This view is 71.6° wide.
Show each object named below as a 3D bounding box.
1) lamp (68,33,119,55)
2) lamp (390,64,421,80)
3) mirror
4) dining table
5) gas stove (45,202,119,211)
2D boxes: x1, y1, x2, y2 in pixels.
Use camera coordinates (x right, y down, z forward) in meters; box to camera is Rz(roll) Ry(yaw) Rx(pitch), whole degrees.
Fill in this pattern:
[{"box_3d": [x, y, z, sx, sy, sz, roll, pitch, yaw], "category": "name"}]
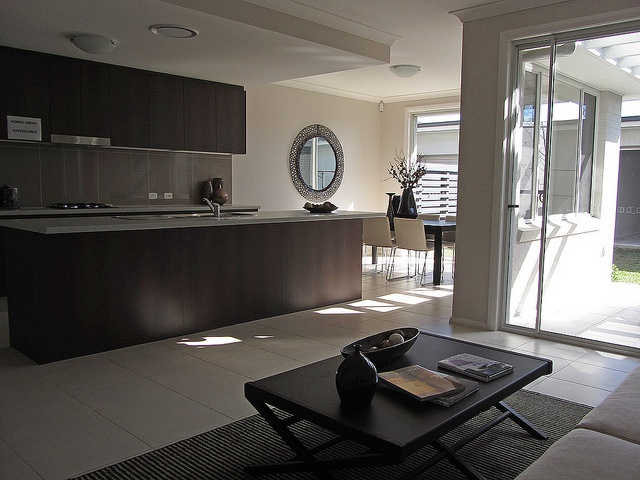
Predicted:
[{"box_3d": [-2.387, -2.050, 4.631, 0.279, 0.074, 0.279, -1, 1, 15], "category": "lamp"}, {"box_3d": [1.272, -2.485, 6.529, 0.273, 0.095, 0.266, -5, 10, -27], "category": "lamp"}, {"box_3d": [-0.119, -1.510, 8.698, 0.063, 1.747, 1.789, 6, 12, 39], "category": "mirror"}, {"box_3d": [1.585, 0.120, 6.968, 0.881, 1.076, 1.163, -7, 10, -35], "category": "dining table"}, {"box_3d": [-3.076, -0.425, 5.703, 0.697, 0.092, 0.596, -7, 10, -32], "category": "gas stove"}]
